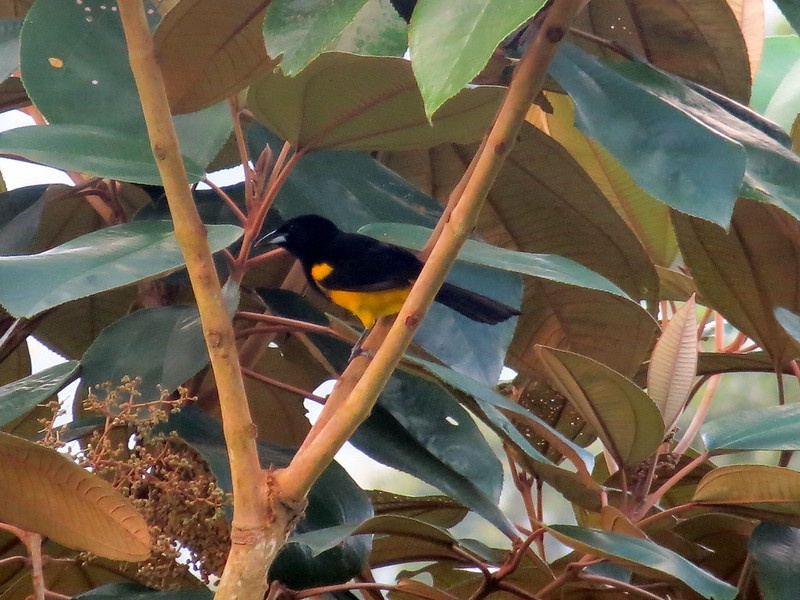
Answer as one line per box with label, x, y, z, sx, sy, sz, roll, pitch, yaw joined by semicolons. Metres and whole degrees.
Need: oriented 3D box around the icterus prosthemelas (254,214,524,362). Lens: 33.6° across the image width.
icterus prosthemelas;-0.032;-0.042;2.615;0.526;0.246;0.152;-1;-2;16
